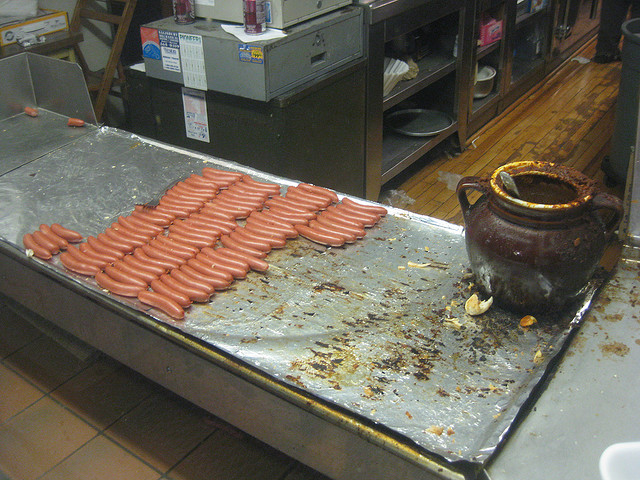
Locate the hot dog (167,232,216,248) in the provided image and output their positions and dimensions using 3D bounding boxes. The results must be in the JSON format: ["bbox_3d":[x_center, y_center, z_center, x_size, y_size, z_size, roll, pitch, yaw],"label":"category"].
[{"bbox_3d":[-0.479,0.004,1.998,0.182,0.040,0.057,10,42,12],"label":"hot dog"}]

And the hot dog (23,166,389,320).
[{"bbox_3d":[-0.438,-0.043,2.085,1.162,0.081,0.779,-24,45,-26],"label":"hot dog"}]

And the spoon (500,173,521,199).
[{"bbox_3d":[0.552,-0.155,1.598,0.027,0.091,0.042,-22,53,20],"label":"spoon"}]
